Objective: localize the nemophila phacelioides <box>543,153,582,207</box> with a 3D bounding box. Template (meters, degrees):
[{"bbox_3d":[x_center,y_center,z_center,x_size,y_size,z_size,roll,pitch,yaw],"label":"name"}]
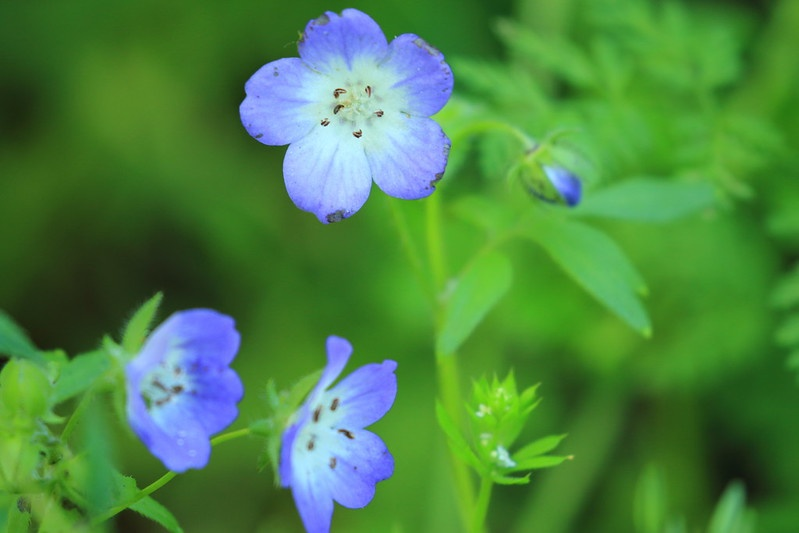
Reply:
[{"bbox_3d":[0.330,-0.165,1.628,0.034,0.088,0.106,-30,-3,-19],"label":"nemophila phacelioides"}]

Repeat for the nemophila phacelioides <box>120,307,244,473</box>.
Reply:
[{"bbox_3d":[-0.380,0.190,1.392,0.102,0.262,0.237,1,-30,37],"label":"nemophila phacelioides"}]
